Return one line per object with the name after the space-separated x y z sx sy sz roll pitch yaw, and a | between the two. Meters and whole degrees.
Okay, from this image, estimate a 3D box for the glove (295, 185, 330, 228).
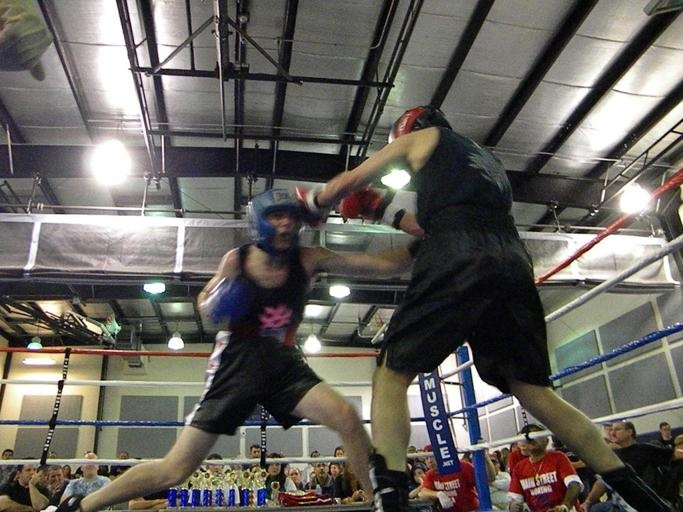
-0.130 -0.204 2.105 0.111 0.092 0.233 -6 -31 -1 | glove

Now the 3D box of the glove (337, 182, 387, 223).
0.112 -0.286 2.228 0.198 0.225 0.087 0 -71 15 | glove

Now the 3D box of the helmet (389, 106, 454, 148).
0.347 -0.584 2.181 0.259 0.188 0.181 2 -9 13 | helmet

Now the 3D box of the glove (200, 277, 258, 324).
-0.516 0.201 2.217 0.229 0.179 0.202 -13 -65 -28 | glove

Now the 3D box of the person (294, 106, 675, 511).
0.443 0.182 1.772 1.188 1.432 0.534 -1 -33 -5 | person

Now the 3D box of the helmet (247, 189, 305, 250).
-0.343 -0.176 2.276 0.310 0.232 0.249 -14 -9 9 | helmet
